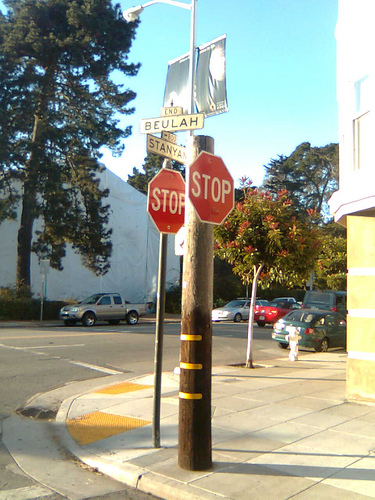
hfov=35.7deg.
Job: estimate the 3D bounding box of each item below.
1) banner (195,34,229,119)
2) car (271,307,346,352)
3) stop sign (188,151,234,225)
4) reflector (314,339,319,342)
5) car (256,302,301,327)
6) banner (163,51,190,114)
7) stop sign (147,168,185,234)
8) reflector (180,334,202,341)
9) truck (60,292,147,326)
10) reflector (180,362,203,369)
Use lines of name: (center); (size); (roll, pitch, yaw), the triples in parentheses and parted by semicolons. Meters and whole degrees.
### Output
banner: (0.456, -3.093, 10.329); (0.706, 1.033, 0.253); (2, -2, 29)
car: (3.806, 2.384, 17.432); (2.021, 1.186, 1.277); (4, -3, -21)
stop sign: (0.249, -0.633, 5.908); (0.633, 0.504, 0.241); (6, -3, -41)
reflector: (3.700, 2.585, 16.798); (0.092, 0.033, 0.080); (2, -1, -41)
car: (4.217, 2.960, 27.430); (0.930, 0.697, 2.080); (-3, 0, 39)
banner: (-0.189, -2.929, 10.353); (0.280, 0.796, 0.808); (4, -3, -29)
stop sign: (-0.216, -0.555, 6.561); (0.243, 0.536, 0.579); (2, -3, 38)
reflector: (0.047, 0.857, 5.707); (0.181, 0.044, 0.040); (3, -2, 18)
truck: (-4.016, 2.682, 27.300); (3.721, 1.526, 1.570); (11, -15, -44)
reflector: (0.043, 1.128, 5.688); (0.197, 0.043, 0.045); (3, -2, 16)
